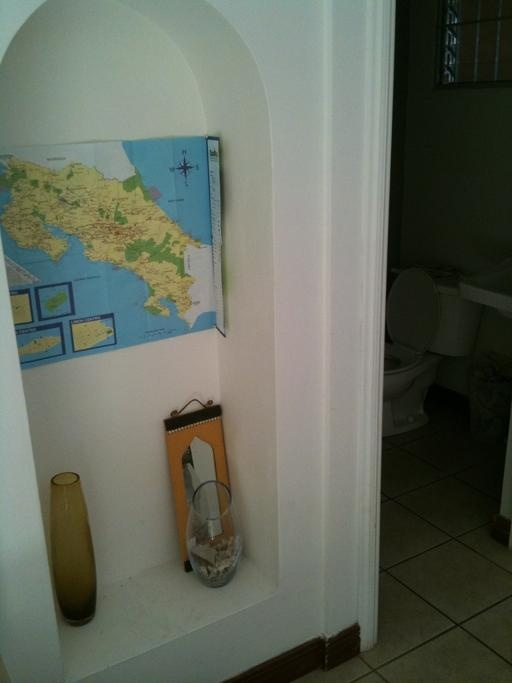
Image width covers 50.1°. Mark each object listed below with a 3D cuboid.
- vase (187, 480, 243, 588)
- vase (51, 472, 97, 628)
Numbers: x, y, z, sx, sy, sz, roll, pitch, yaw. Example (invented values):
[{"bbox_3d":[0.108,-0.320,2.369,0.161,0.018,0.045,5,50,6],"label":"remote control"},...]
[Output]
[{"bbox_3d":[-0.131,0.593,1.722,0.164,0.291,0.199,-2,11,4],"label":"vase"},{"bbox_3d":[-0.489,0.571,1.460,0.101,0.431,0.082,-6,11,-17],"label":"vase"}]
